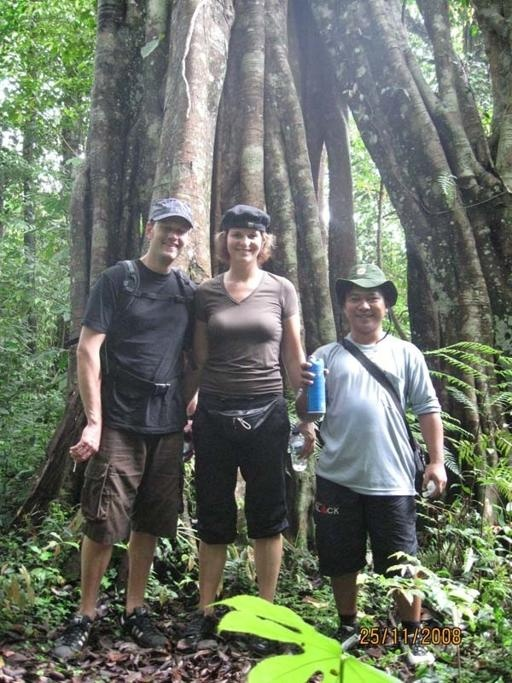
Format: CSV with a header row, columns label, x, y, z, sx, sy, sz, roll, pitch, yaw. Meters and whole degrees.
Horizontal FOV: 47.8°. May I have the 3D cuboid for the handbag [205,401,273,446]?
label,x,y,z,sx,sy,sz,roll,pitch,yaw
handbag,-0.079,0.381,2.841,0.327,0.174,0.103,6,1,-1

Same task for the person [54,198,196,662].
label,x,y,z,sx,sy,sz,roll,pitch,yaw
person,-0.588,0.343,2.864,0.621,1.991,0.517,5,1,-23

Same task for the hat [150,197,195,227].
label,x,y,z,sx,sy,sz,roll,pitch,yaw
hat,-0.458,-0.686,3.070,0.147,0.113,0.197,7,-14,-9

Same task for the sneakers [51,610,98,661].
label,x,y,z,sx,sy,sz,roll,pitch,yaw
sneakers,-0.827,1.336,2.629,0.079,0.095,0.238,26,7,0

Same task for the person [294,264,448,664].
label,x,y,z,sx,sy,sz,roll,pitch,yaw
person,0.539,0.560,2.729,0.631,1.886,0.593,0,0,10

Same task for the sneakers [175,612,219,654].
label,x,y,z,sx,sy,sz,roll,pitch,yaw
sneakers,-0.277,1.375,2.774,0.188,0.161,0.227,6,1,-5

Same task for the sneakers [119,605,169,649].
label,x,y,z,sx,sy,sz,roll,pitch,yaw
sneakers,-0.549,1.397,2.862,0.102,0.136,0.291,0,5,-41

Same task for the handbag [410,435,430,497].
label,x,y,z,sx,sy,sz,roll,pitch,yaw
handbag,0.756,0.591,2.734,0.088,0.250,0.174,3,-3,-1

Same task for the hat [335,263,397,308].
label,x,y,z,sx,sy,sz,roll,pitch,yaw
hat,0.592,-0.312,3.009,0.216,0.148,0.278,0,-28,16
